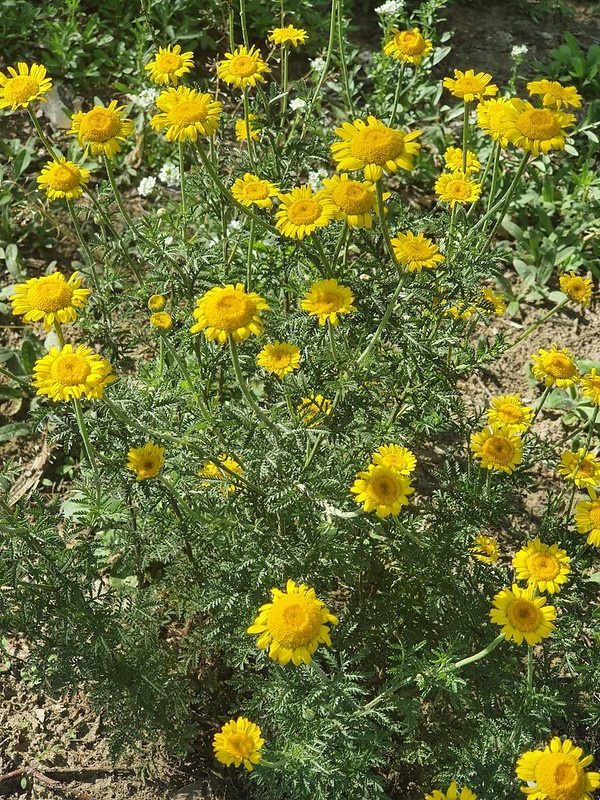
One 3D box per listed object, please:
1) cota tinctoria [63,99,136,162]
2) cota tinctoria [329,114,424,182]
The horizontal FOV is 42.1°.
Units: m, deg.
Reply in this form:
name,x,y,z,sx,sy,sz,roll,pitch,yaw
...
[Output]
name,x,y,z,sx,sy,sz,roll,pitch,yaw
cota tinctoria,-0.770,-1.048,3.072,0.248,0.215,0.315,-16,48,-10
cota tinctoria,0.252,-0.803,2.544,0.267,0.241,0.276,12,50,15
